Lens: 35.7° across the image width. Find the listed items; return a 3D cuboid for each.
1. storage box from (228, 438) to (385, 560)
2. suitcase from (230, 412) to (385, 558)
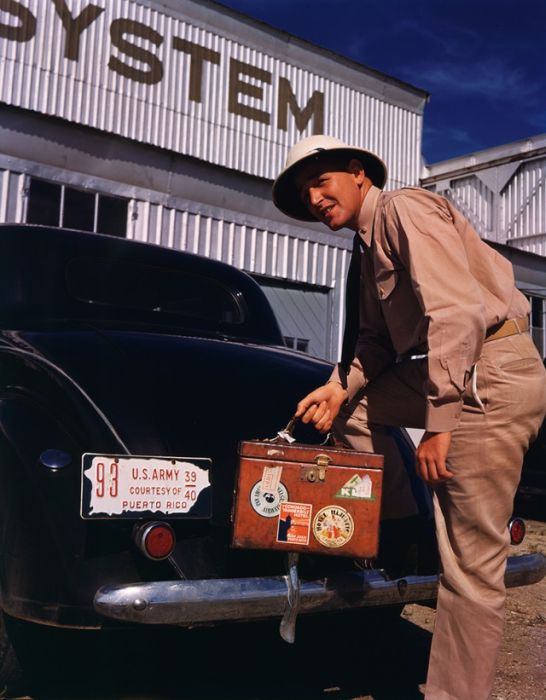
[{"bbox_3d":[0.095,0.499,2.736,0.313,0.388,0.510,5,-6,-22],"label":"storage box"},{"bbox_3d":[0.068,0.438,2.664,0.555,0.518,0.327,6,-6,-8],"label":"suitcase"}]
